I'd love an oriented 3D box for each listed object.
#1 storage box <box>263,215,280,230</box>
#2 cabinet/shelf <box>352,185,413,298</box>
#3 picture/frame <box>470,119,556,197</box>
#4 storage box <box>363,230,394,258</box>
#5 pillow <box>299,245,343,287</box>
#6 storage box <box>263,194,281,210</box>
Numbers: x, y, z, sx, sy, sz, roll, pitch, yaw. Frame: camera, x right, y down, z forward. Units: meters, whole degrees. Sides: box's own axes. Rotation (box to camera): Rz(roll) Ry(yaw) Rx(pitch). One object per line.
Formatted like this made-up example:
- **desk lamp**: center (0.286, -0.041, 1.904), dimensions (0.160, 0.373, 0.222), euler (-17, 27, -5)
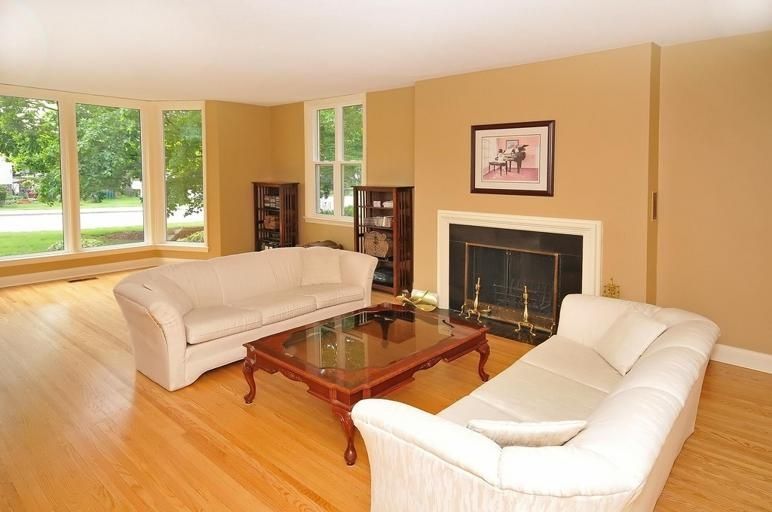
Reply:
- **storage box**: center (-2.089, -0.605, 9.060), dimensions (0.255, 0.218, 0.325), euler (-4, 3, -43)
- **cabinet/shelf**: center (-0.068, -0.461, 7.608), dimensions (0.760, 1.173, 0.299), euler (7, 14, 31)
- **picture/frame**: center (1.595, -1.219, 6.129), dimensions (1.036, 0.865, 0.077), euler (4, 9, 35)
- **storage box**: center (-0.079, -0.195, 7.631), dimensions (0.358, 0.423, 0.602), euler (-3, 5, -42)
- **pillow**: center (-0.835, 0.125, 6.348), dimensions (0.561, 0.482, 0.156), euler (-3, 1, -18)
- **storage box**: center (-2.047, -1.000, 9.109), dimensions (0.436, 0.290, 0.236), euler (7, 13, 36)
